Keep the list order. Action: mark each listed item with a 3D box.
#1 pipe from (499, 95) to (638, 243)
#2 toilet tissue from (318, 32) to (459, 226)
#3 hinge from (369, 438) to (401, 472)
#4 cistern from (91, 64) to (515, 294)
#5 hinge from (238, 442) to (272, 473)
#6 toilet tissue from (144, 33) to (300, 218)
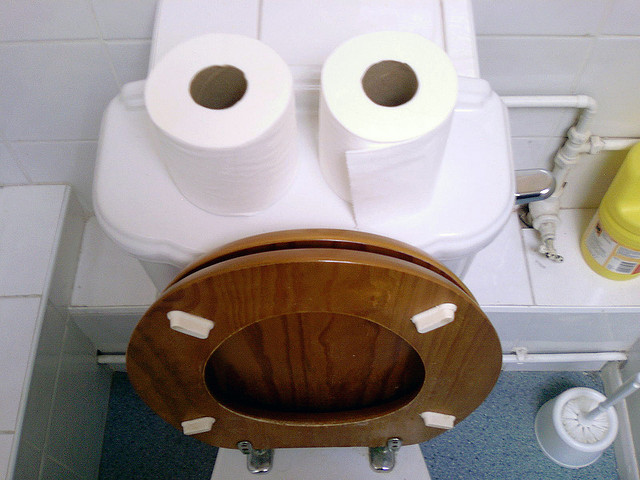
[{"bbox_3d":[0.539,-0.162,1.166,0.280,0.310,0.065,-1,64,8],"label":"pipe"},{"bbox_3d":[0.098,-0.160,0.805,0.193,0.184,0.210,-3,61,1],"label":"toilet tissue"},{"bbox_3d":[0.126,0.421,1.055,0.058,0.123,0.045,-2,60,3],"label":"hinge"},{"bbox_3d":[-0.030,-0.091,1.071,0.592,0.568,0.363,1,75,-2],"label":"cistern"},{"bbox_3d":[-0.134,0.419,1.068,0.051,0.102,0.026,1,18,1],"label":"hinge"},{"bbox_3d":[-0.137,-0.165,0.810,0.202,0.187,0.193,-1,61,3],"label":"toilet tissue"}]
